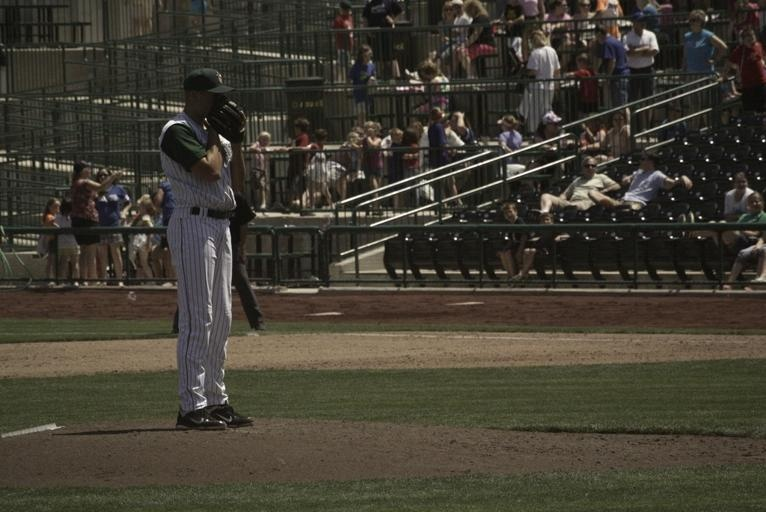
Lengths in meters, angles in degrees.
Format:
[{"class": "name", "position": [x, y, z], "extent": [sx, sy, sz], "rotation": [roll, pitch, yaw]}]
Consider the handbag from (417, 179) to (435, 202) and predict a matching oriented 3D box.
[{"class": "handbag", "position": [0.861, -1.370, 40.754], "extent": [0.418, 0.388, 0.098], "rotation": [6, -4, -21]}]

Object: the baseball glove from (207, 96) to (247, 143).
[{"class": "baseball glove", "position": [-2.494, -2.159, 29.965], "extent": [0.722, 0.269, 0.538], "rotation": [47, 13, 25]}]

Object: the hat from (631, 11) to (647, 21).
[{"class": "hat", "position": [5.481, -5.221, 42.202], "extent": [0.257, 0.130, 0.198], "rotation": [-2, 12, 45]}]

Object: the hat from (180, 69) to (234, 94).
[{"class": "hat", "position": [-2.792, -2.718, 30.015], "extent": [0.581, 0.290, 0.411], "rotation": [-5, 12, 0]}]
